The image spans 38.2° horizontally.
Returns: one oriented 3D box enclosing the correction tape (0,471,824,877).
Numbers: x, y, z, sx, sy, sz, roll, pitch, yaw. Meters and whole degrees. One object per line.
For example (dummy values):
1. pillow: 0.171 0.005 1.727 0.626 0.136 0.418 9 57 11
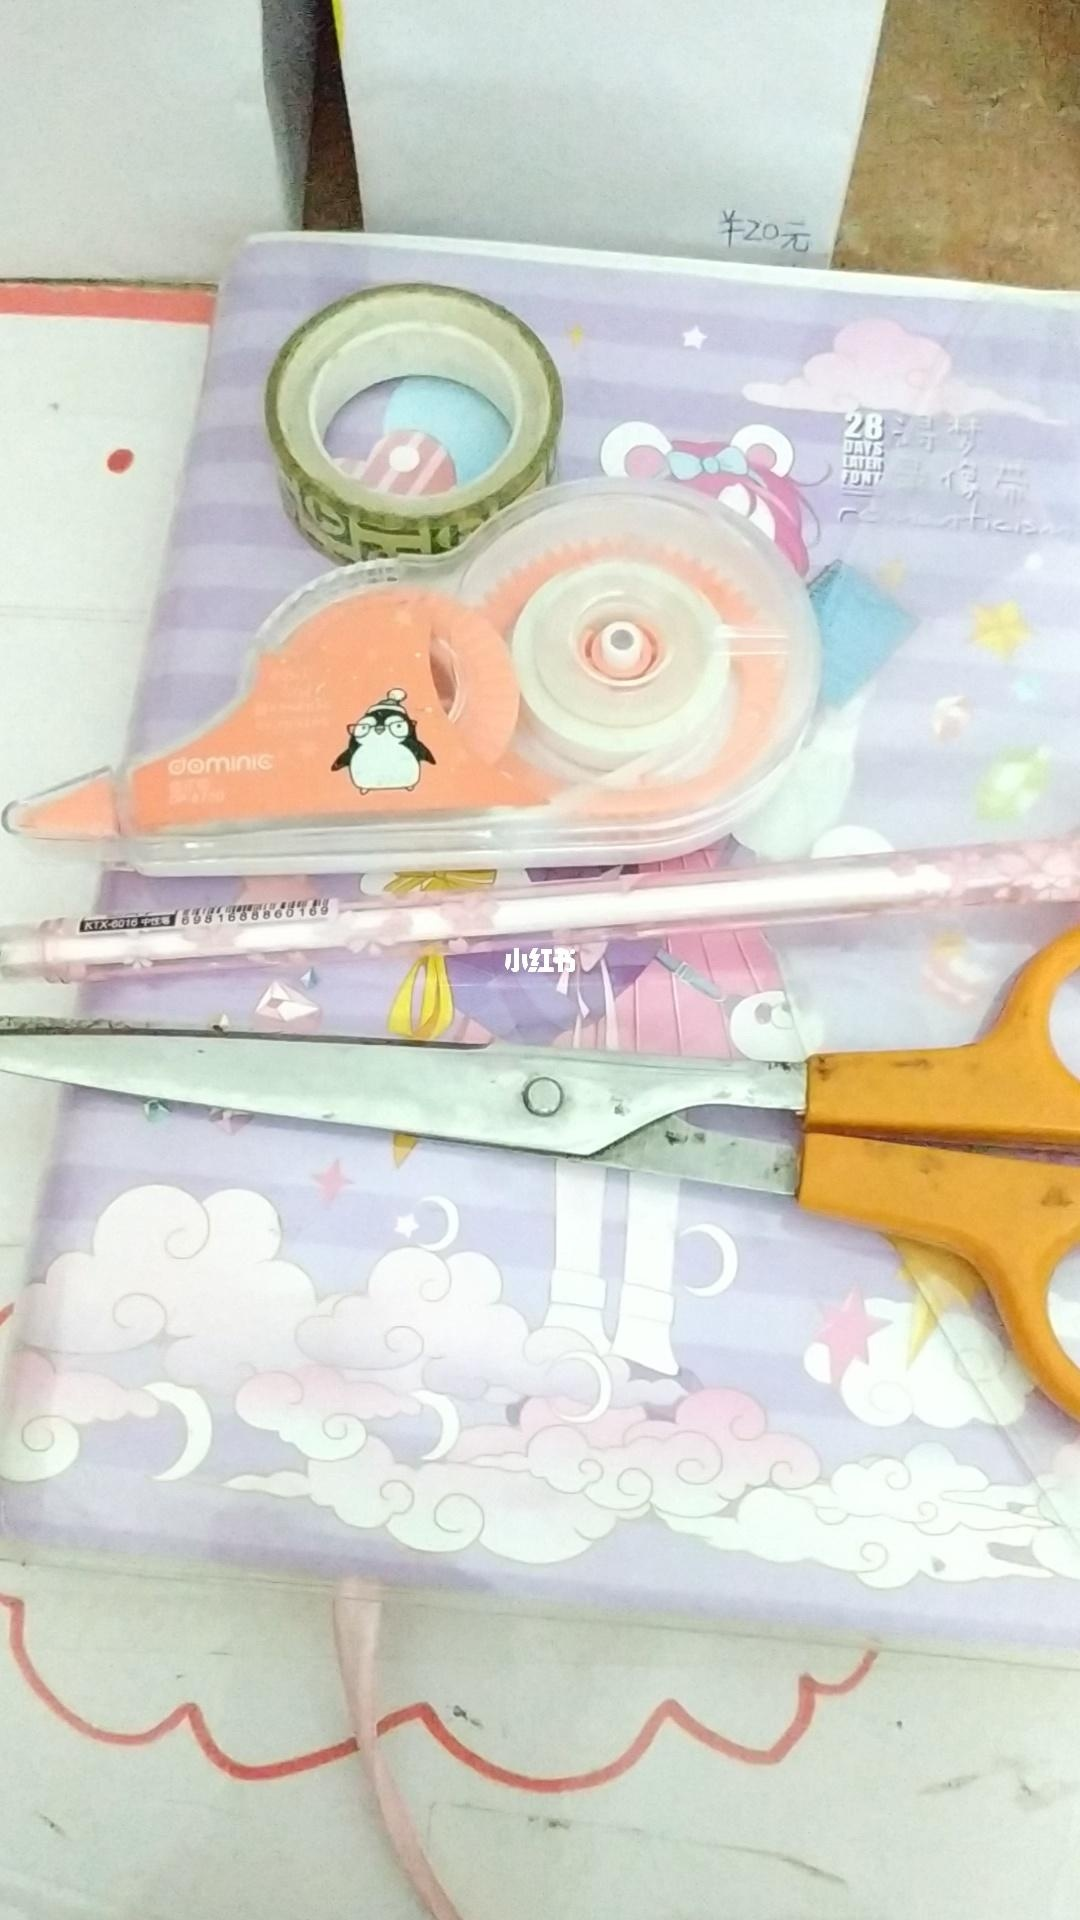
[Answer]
1. correction tape: -0.021 -0.068 0.426 0.214 0.048 0.099 -10 76 0
